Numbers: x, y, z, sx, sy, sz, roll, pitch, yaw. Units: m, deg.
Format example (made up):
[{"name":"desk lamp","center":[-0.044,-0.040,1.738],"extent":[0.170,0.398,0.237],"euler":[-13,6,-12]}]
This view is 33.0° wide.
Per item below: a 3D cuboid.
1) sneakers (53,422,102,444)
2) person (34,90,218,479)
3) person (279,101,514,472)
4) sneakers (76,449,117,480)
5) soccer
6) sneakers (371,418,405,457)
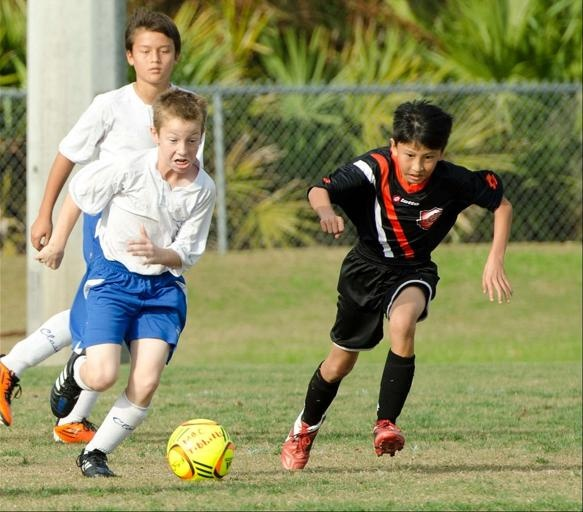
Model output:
[{"name":"sneakers","center":[-1.218,0.999,5.643],"extent":[0.241,0.104,0.127],"euler":[-2,33,-2]},{"name":"person","center":[-0.760,0.120,5.045],"extent":[0.737,1.899,0.639],"euler":[1,14,-12]},{"name":"person","center":[0.578,0.197,5.283],"extent":[1.128,2.006,0.812],"euler":[4,14,0]},{"name":"sneakers","center":[-0.988,1.055,5.016],"extent":[0.186,0.153,0.232],"euler":[0,14,-15]},{"name":"soccer","center":[-0.471,0.978,5.061],"extent":[0.290,0.281,0.283],"euler":[-29,46,-18]},{"name":"sneakers","center":[0.493,0.920,4.989],"extent":[0.116,0.208,0.129],"euler":[2,48,-1]}]
